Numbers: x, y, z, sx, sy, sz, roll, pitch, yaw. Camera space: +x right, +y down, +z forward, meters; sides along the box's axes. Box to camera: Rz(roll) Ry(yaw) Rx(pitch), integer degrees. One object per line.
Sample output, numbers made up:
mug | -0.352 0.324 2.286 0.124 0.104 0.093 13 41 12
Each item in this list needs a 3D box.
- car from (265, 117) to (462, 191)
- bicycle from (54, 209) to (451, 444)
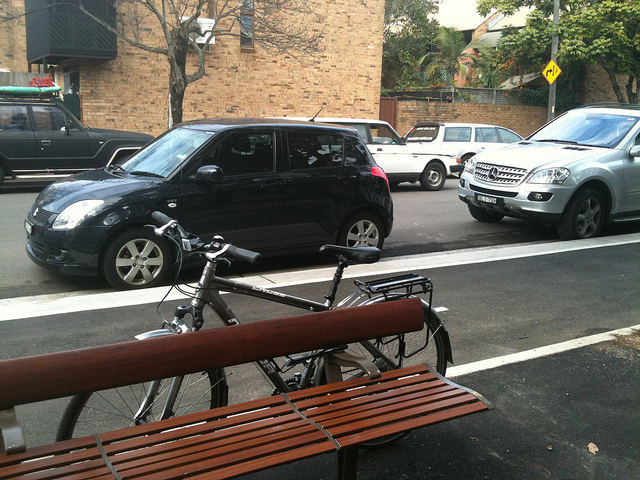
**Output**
car | 2.005 -2.636 15.818 5.026 1.598 2.252 -4 11 -21
bicycle | -0.236 0.579 3.241 2.311 1.208 1.062 -5 12 -18
